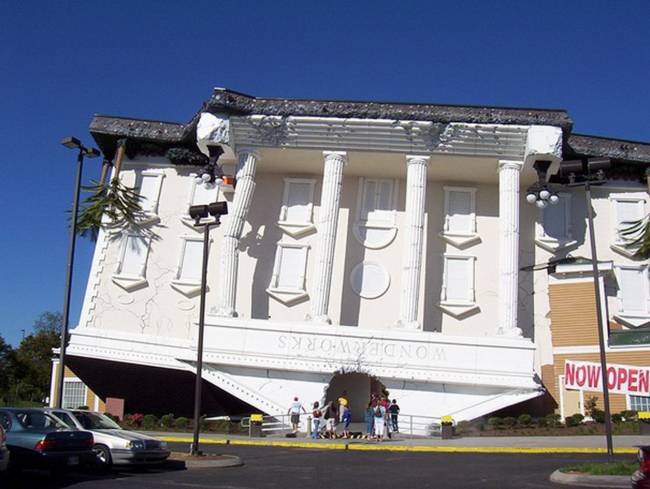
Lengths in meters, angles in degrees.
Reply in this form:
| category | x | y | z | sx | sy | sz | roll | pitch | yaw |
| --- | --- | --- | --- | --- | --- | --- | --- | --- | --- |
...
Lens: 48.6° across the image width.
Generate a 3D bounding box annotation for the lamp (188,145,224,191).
| category | x | y | z | sx | sy | sz | roll | pitch | yaw |
| --- | --- | --- | --- | --- | --- | --- | --- | --- | --- |
| lamp | -6.330 | -4.476 | 40.368 | 1.369 | 2.300 | 1.697 | -4 | -19 | 26 |
